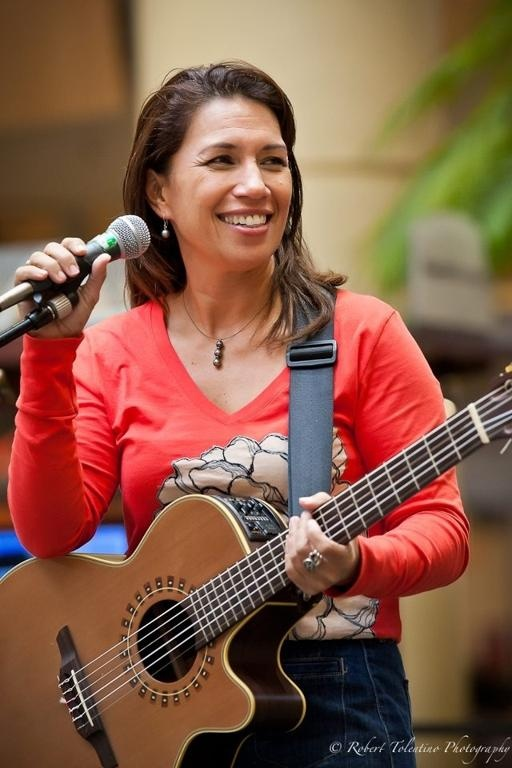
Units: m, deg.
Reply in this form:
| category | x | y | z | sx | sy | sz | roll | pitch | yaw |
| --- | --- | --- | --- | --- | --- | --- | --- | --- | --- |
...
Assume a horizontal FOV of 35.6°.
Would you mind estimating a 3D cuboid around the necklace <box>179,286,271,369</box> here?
| category | x | y | z | sx | sy | sz | roll | pitch | yaw |
| --- | --- | --- | --- | --- | --- | --- | --- | --- | --- |
| necklace | -0.051 | -0.099 | 1.474 | 0.199 | 0.018 | 0.187 | 3 | 58 | 8 |

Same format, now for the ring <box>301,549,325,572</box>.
| category | x | y | z | sx | sy | sz | roll | pitch | yaw |
| --- | --- | --- | --- | --- | --- | --- | --- | --- | --- |
| ring | 0.075 | 0.229 | 1.039 | 0.026 | 0.029 | 0.024 | 7 | -9 | 1 |
